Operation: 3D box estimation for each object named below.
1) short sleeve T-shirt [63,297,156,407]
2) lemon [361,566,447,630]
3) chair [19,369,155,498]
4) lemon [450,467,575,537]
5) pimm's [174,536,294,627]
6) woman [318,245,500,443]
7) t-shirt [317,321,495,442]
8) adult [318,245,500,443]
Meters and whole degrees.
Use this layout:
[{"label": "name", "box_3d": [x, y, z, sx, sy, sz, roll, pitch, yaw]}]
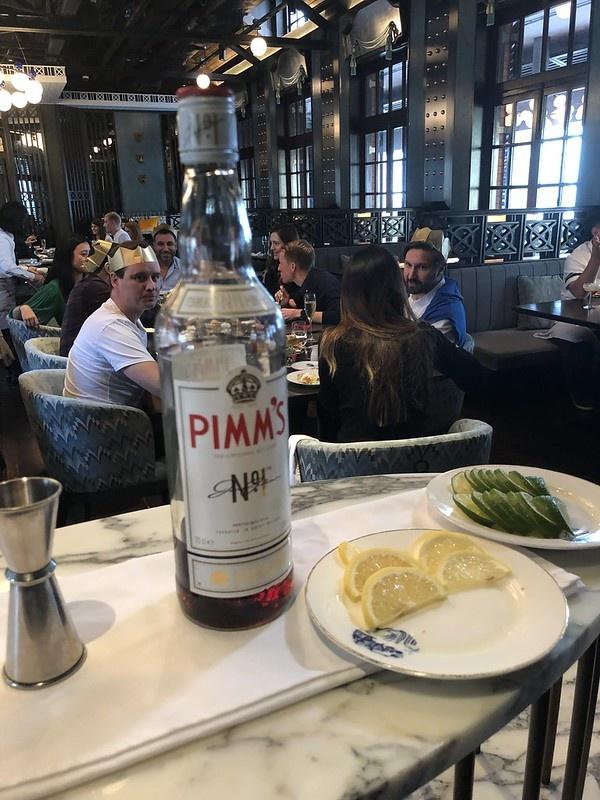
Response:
[{"label": "short sleeve T-shirt", "box_3d": [-0.705, -0.135, 2.237, 0.352, 0.447, 0.566, -3, 11, -24]}, {"label": "lemon", "box_3d": [0.093, 0.159, 0.496, 0.069, 0.014, 0.034, -7, 42, -37]}, {"label": "chair", "box_3d": [-0.689, 0.082, 2.039, 0.415, 0.427, 0.462, -17, 26, -38]}, {"label": "lemon", "box_3d": [0.236, 0.104, 0.666, 0.071, 0.025, 0.084, -2, 13, -26]}, {"label": "pimm's", "box_3d": [-0.061, 0.143, 0.525, 0.090, 0.088, 0.089, -3, 12, -16]}, {"label": "woman", "box_3d": [0.301, -0.159, 1.777, 0.463, 0.594, 0.345, -14, 18, -34]}, {"label": "t-shirt", "box_3d": [0.322, -0.040, 1.864, 0.402, 0.458, 0.432, -3, 27, -6]}, {"label": "adult", "box_3d": [0.302, -0.160, 1.778, 0.464, 0.594, 0.345, -14, 18, -34]}]
